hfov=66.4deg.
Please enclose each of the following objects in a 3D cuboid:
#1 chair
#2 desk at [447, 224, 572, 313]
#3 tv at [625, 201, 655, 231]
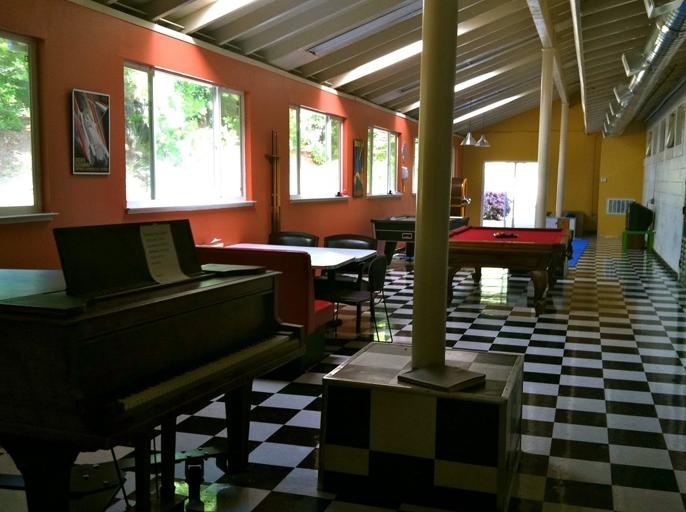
[{"bbox_3d":[-0.149,0.256,6.261,1.216,1.639,1.306,4,8,30],"label":"chair"},{"bbox_3d":[2.897,0.050,9.093,1.859,1.225,4.197,5,11,23],"label":"desk"},{"bbox_3d":[8.276,-1.129,14.809,0.717,0.780,0.773,3,6,18],"label":"tv"}]
